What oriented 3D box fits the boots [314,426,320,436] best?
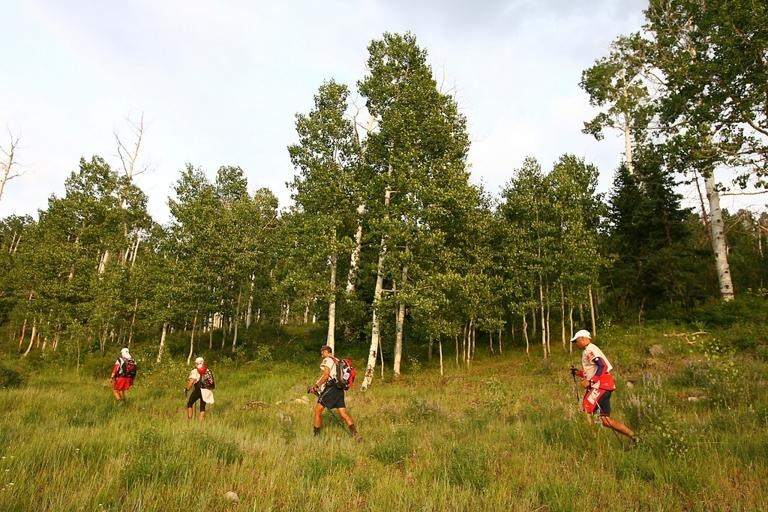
[{"bbox_3d":[-3.027,7.640,22.729,0.284,0.471,0.274,1,-17,-8],"label":"boots"}]

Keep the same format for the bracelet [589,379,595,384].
[{"bbox_3d":[8.435,5.115,21.110,0.240,0.236,0.051,-9,-16,30],"label":"bracelet"}]

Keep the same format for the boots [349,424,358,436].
[{"bbox_3d":[-1.361,7.443,22.429,0.303,0.465,0.502,1,-15,-3],"label":"boots"}]
